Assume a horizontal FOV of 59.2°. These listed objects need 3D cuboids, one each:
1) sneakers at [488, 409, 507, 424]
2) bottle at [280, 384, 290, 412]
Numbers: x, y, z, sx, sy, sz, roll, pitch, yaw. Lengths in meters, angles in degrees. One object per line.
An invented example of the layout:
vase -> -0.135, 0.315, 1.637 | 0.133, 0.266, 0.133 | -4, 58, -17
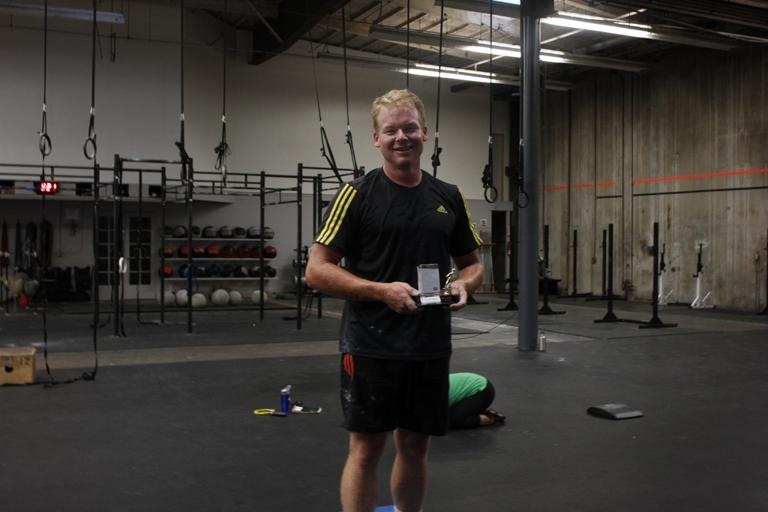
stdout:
sneakers -> 1.064, 1.530, 6.434 | 0.095, 0.089, 0.245 | -14, 6, -8
bottle -> -0.985, 1.418, 6.695 | 0.093, 0.241, 0.174 | -2, 4, -12
